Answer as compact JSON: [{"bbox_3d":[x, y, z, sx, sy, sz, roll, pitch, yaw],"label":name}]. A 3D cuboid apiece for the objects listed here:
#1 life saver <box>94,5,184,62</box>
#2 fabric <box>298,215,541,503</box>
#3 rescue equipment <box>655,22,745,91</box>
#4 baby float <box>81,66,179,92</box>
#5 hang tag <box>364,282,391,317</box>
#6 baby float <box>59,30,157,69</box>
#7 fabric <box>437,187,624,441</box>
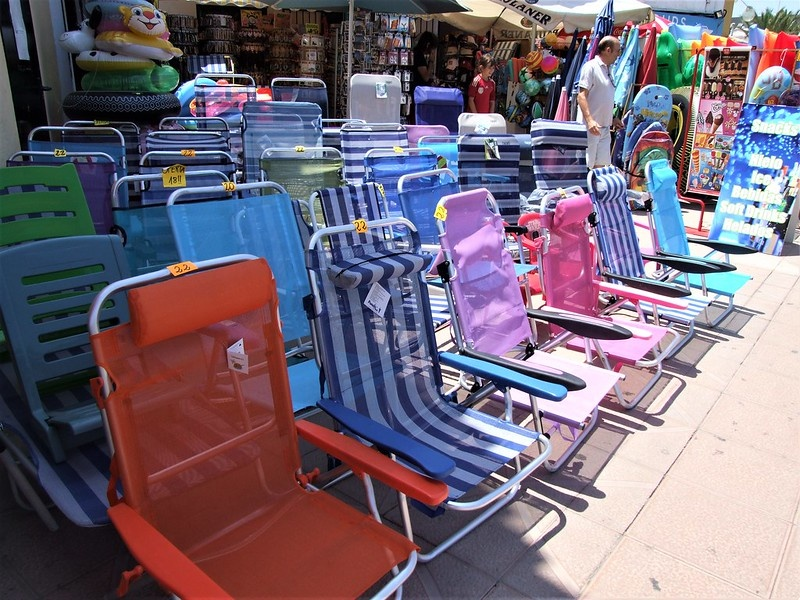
[{"bbox_3d":[-3.602,-3.597,7.095,0.994,0.718,0.428,-11,26,-24],"label":"life saver"},{"bbox_3d":[0.175,0.292,2.579,0.922,1.059,1.261,-14,29,-39],"label":"fabric"},{"bbox_3d":[5.800,-4.877,10.474,1.748,1.173,2.295,12,22,40],"label":"rescue equipment"},{"bbox_3d":[-3.722,-2.987,7.159,0.726,0.201,0.697,-3,3,-14],"label":"baby float"},{"bbox_3d":[-0.126,-0.003,2.758,0.014,0.135,0.147,1,-26,45],"label":"hang tag"},{"bbox_3d":[-4.024,-3.403,7.059,0.895,0.305,0.639,5,9,-28],"label":"baby float"},{"bbox_3d":[0.760,0.004,3.096,0.808,1.226,0.999,-12,13,-29],"label":"fabric"}]
